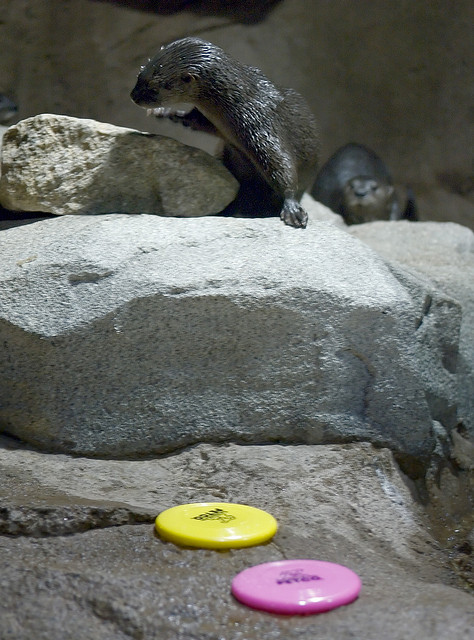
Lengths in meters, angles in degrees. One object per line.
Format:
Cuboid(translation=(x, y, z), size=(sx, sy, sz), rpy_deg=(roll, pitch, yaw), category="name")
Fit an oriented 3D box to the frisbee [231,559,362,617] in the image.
Cuboid(translation=(0.106, 0.483, 1.420), size=(0.229, 0.031, 0.125), rpy_deg=(5, 24, -5), category="frisbee")
